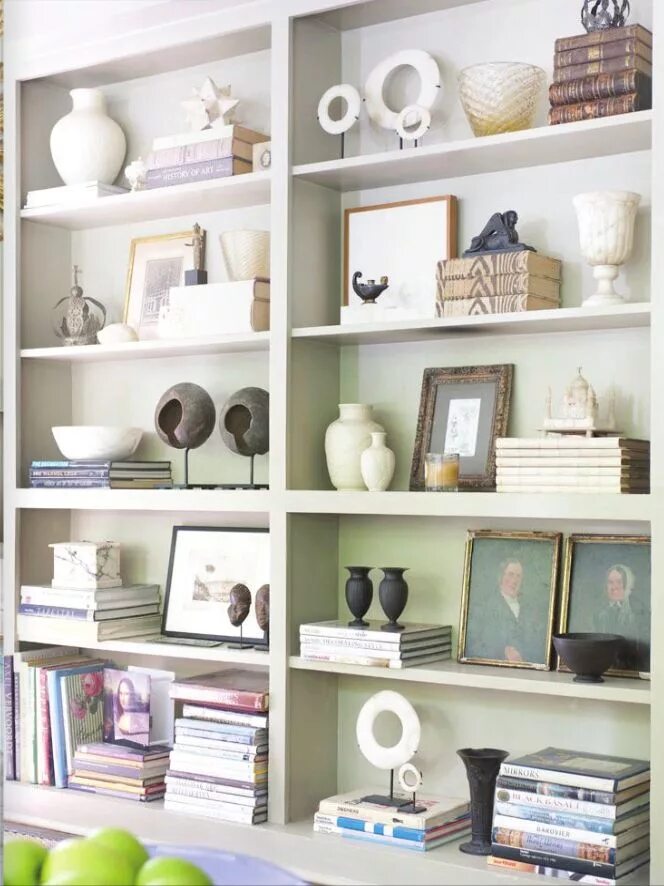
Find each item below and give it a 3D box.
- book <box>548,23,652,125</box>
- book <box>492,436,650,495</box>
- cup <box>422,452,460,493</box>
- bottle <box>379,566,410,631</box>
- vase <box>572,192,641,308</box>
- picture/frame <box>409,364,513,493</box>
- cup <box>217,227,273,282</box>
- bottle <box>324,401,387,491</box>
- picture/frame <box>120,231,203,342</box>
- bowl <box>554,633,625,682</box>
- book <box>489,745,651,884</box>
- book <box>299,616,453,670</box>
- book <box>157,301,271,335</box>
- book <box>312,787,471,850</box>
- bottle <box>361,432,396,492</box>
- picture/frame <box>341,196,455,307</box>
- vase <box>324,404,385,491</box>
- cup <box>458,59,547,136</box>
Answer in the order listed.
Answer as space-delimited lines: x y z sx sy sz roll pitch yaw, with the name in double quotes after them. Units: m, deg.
0.544 -0.751 1.749 0.254 0.212 0.280 4 15 22 "book"
0.495 0.048 1.676 0.306 0.122 0.155 0 -5 20 "book"
0.255 0.073 1.870 0.077 0.085 0.106 1 -5 8 "cup"
0.148 0.376 1.974 0.063 0.142 0.159 1 -5 4 "bottle"
0.578 -0.397 1.690 0.147 0.236 0.113 2 -5 -2 "vase"
0.323 -0.031 1.956 0.266 0.360 0.036 -8 -21 38 "picture/frame"
-0.241 -0.509 2.281 0.143 0.118 0.147 0 -1 0 "cup"
0.084 0.012 2.033 0.180 0.276 0.193 1 -1 0 "bottle"
-0.505 -0.472 2.446 0.313 0.409 0.027 -13 -19 38 "picture/frame"
0.514 0.415 1.647 0.114 0.077 0.119 0 -9 0 "bowl"
0.486 0.748 1.643 0.299 0.208 0.246 0 -6 26 "book"
0.104 0.491 1.944 0.365 0.096 0.190 1 -5 7 "book"
-0.325 -0.329 2.216 0.158 0.041 0.160 1 2 43 "book"
0.145 0.881 1.913 0.336 0.094 0.227 -1 -6 34 "book"
0.106 0.045 1.993 0.083 0.157 0.139 1 -5 15 "bottle"
0.181 -0.492 2.078 0.319 0.324 0.036 -1 -3 38 "picture/frame"
0.050 0.005 2.164 0.181 0.275 0.192 1 0 0 "vase"
0.399 -0.767 1.901 0.184 0.150 0.193 -2 10 0 "cup"
